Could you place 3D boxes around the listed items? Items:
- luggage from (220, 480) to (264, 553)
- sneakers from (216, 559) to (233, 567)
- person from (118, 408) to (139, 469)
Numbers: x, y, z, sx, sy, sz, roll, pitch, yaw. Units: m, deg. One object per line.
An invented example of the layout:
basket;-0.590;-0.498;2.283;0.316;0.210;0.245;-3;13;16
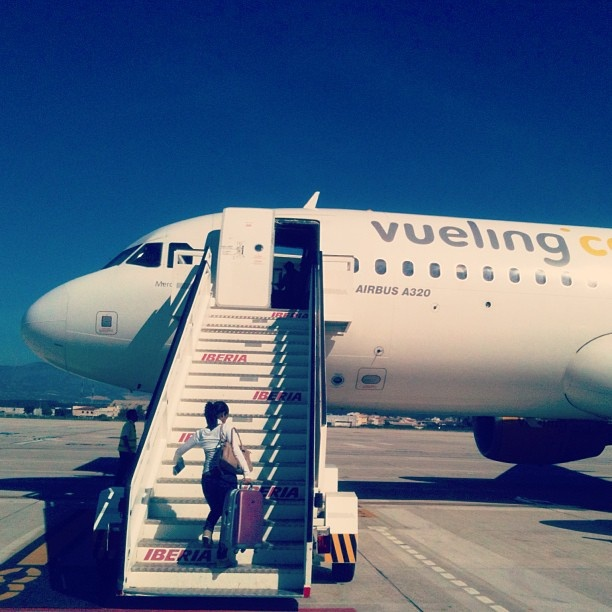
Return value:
luggage;-0.810;2.807;9.043;0.485;0.905;0.542;9;-14;-27
sneakers;-1.057;3.377;9.150;0.140;0.064;0.168;1;-12;-2
person;-3.363;2.583;13.235;0.316;1.219;1.063;6;-12;-13
